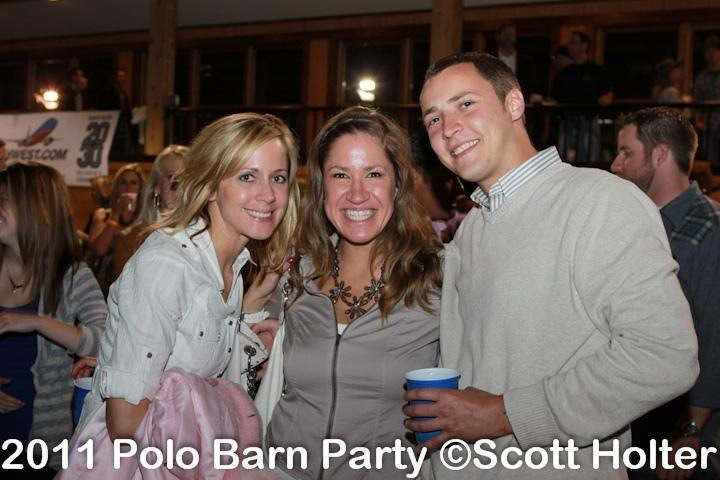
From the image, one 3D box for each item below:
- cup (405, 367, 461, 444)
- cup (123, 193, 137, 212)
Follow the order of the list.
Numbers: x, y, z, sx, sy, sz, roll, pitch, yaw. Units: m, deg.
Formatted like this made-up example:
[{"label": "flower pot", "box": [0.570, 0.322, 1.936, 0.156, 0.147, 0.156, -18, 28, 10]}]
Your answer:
[{"label": "cup", "box": [0.353, 0.750, 2.615, 0.247, 0.273, 0.256, -5, -6, 0]}, {"label": "cup", "box": [-2.597, -0.422, 6.289, 0.119, 0.205, 0.202, 1, 10, 1]}]
